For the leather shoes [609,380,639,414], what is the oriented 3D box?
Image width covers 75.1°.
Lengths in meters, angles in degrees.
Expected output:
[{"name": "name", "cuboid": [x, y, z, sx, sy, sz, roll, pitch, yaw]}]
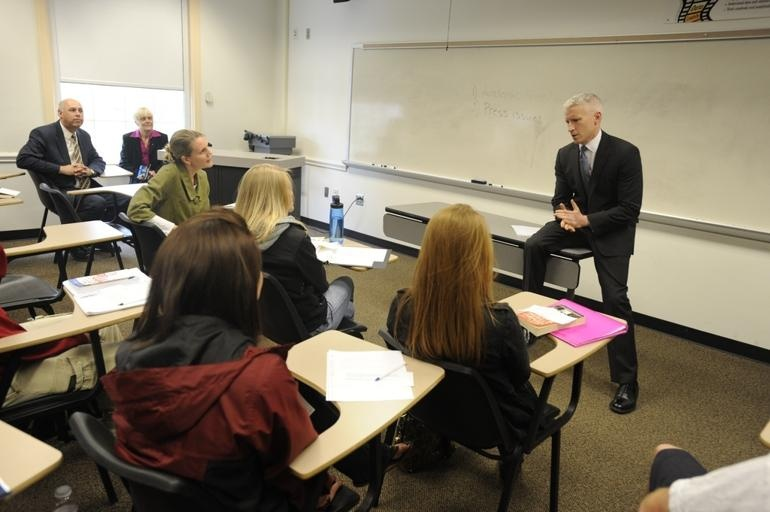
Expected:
[{"name": "leather shoes", "cuboid": [1.702, 0.994, 3.604, 0.124, 0.191, 0.280, -1, 7, 34]}]

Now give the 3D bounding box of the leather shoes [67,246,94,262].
[{"name": "leather shoes", "cuboid": [-2.918, -0.023, 4.821, 0.326, 0.144, 0.109, -7, -1, 38]}]
